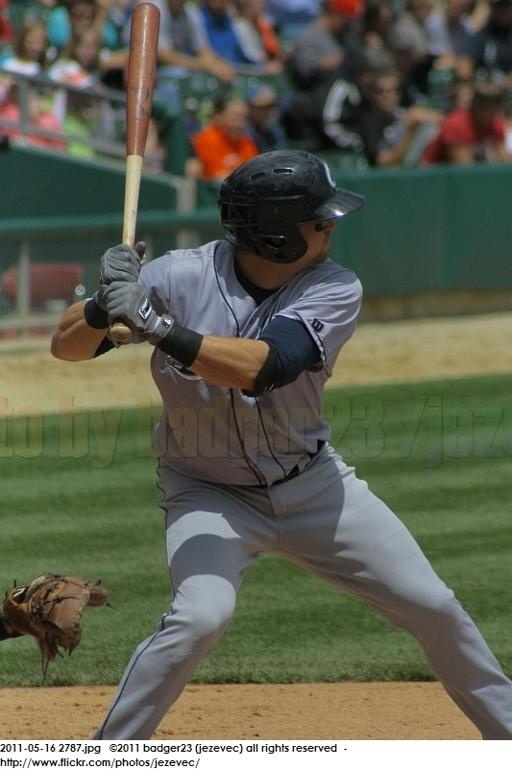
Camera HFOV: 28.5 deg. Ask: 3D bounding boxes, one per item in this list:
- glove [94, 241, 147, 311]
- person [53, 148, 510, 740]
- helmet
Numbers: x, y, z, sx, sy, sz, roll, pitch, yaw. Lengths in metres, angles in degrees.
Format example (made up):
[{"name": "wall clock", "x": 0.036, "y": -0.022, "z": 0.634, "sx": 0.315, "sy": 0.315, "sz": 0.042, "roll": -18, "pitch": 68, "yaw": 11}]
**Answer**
[{"name": "glove", "x": -0.284, "y": -0.226, "z": 2.126, "sx": 0.119, "sy": 0.130, "sz": 0.049, "roll": 4, "pitch": 9, "yaw": -22}, {"name": "person", "x": 0.055, "y": 0.149, "z": 2.296, "sx": 0.915, "sy": 1.340, "sz": 0.566, "roll": -2, "pitch": 12, "yaw": -21}, {"name": "helmet", "x": 0.085, "y": -0.419, "z": 2.322, "sx": 0.326, "sy": 0.214, "sz": 0.288, "roll": -22, "pitch": 33, "yaw": -35}]
